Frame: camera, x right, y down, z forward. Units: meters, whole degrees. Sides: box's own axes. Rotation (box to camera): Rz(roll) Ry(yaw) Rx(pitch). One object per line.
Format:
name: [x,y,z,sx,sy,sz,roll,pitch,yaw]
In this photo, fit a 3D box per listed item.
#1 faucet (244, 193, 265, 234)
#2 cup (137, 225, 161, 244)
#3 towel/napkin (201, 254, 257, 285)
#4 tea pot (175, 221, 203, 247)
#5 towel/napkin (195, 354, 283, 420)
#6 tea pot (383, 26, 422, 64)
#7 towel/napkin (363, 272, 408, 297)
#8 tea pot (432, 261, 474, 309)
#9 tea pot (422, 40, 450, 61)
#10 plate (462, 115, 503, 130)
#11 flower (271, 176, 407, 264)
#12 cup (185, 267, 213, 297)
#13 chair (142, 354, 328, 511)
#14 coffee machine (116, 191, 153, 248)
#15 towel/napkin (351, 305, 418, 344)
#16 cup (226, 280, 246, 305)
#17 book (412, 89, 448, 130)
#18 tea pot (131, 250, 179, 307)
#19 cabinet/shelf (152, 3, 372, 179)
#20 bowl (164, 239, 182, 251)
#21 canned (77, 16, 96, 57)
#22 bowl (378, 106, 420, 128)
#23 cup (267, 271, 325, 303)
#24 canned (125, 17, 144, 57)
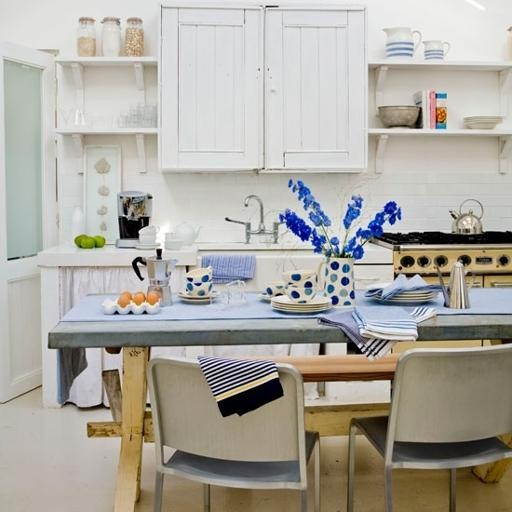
faucet: [-0.012,-0.287,4.538,0.140,0.275,0.415,-2,10,1]
cup: [-0.669,-0.133,4.217,0.082,0.114,0.124,-1,-6,15]
towel/napkin: [-0.155,0.074,4.029,0.223,0.212,0.065,0,-17,1]
tea pot: [-0.449,-0.148,4.415,0.160,0.164,0.131,0,1,-11]
towel/napkin: [-0.039,0.411,2.036,0.168,0.209,0.063,-11,12,5]
tea pot: [1.024,-1.450,4.591,0.267,0.229,0.214,0,8,-2]
towel/napkin: [0.563,0.133,2.802,0.111,0.053,0.118,-11,6,-18]
tea pot: [0.805,0.122,2.746,0.193,0.265,0.109,0,0,-24]
tea pot: [1.261,-1.430,4.642,0.204,0.180,0.164,1,8,5]
plate: [1.591,-0.932,4.631,0.248,0.091,0.110,1,11,22]
flower: [0.281,-0.120,2.878,0.571,0.447,0.654,2,0,-19]
cup: [-0.236,0.109,2.805,0.084,0.095,0.119,1,6,16]
chair: [-0.067,0.528,2.355,0.469,0.821,0.520,0,5,12]
coffee machine: [-0.790,-0.256,4.286,0.195,0.398,0.328,1,-3,-4]
towel/napkin: [0.473,0.253,2.442,0.233,0.073,0.290,-2,11,8]
cup: [-0.083,0.168,2.902,0.077,0.118,0.095,-1,-2,-1]
book: [1.218,-1.004,4.703,0.198,0.334,0.304,-1,7,-1]
tea pot: [-0.452,0.089,2.846,0.235,0.344,0.144,-2,0,10]
cabinet/shelf: [0.039,-1.099,4.316,1.352,1.112,0.318,-1,9,9]
bowl: [-0.513,-0.069,4.150,0.110,0.067,0.158,-5,11,-11]
canned: [-1.150,-1.480,4.503,0.136,0.257,0.193,-5,10,-14]
bowl: [0.991,-0.964,4.587,0.283,0.157,0.193,-1,10,10]
cup: [0.144,0.123,2.660,0.119,0.093,0.167,-4,-7,-45]
canned: [-0.817,-1.477,4.468,0.128,0.259,0.094,-5,9,-15]
